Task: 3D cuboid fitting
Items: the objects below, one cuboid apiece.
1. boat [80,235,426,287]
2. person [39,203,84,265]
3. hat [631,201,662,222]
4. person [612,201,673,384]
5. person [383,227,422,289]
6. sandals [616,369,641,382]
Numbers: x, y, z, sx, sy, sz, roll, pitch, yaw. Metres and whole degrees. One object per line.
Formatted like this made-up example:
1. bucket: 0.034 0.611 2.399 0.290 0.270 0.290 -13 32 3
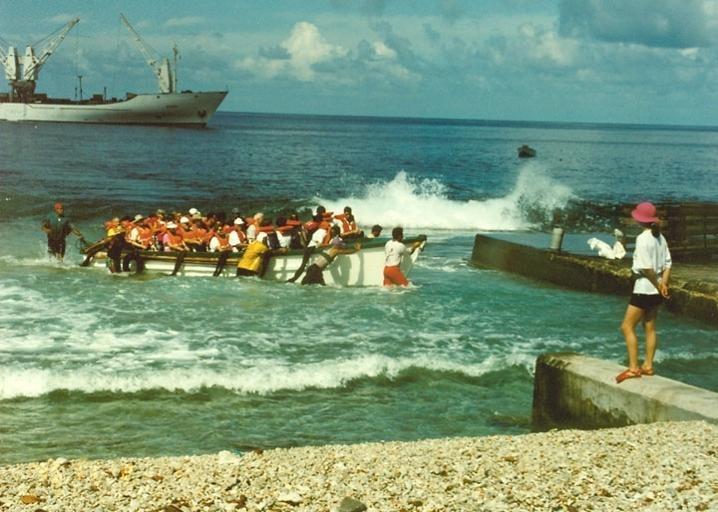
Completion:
1. boat: -2.303 -0.040 20.047 7.546 1.299 0.763 3 11 3
2. person: -7.385 -0.585 21.317 0.681 1.510 0.853 0 12 -19
3. hat: 4.218 -0.604 12.737 0.408 0.189 0.399 12 24 17
4. person: 4.136 0.505 12.507 0.618 2.493 1.054 8 12 17
5. person: 0.971 0.036 19.787 0.696 1.437 0.646 1 11 -13
6. sandals: 3.793 1.704 12.320 0.404 0.149 0.149 -8 3 7
